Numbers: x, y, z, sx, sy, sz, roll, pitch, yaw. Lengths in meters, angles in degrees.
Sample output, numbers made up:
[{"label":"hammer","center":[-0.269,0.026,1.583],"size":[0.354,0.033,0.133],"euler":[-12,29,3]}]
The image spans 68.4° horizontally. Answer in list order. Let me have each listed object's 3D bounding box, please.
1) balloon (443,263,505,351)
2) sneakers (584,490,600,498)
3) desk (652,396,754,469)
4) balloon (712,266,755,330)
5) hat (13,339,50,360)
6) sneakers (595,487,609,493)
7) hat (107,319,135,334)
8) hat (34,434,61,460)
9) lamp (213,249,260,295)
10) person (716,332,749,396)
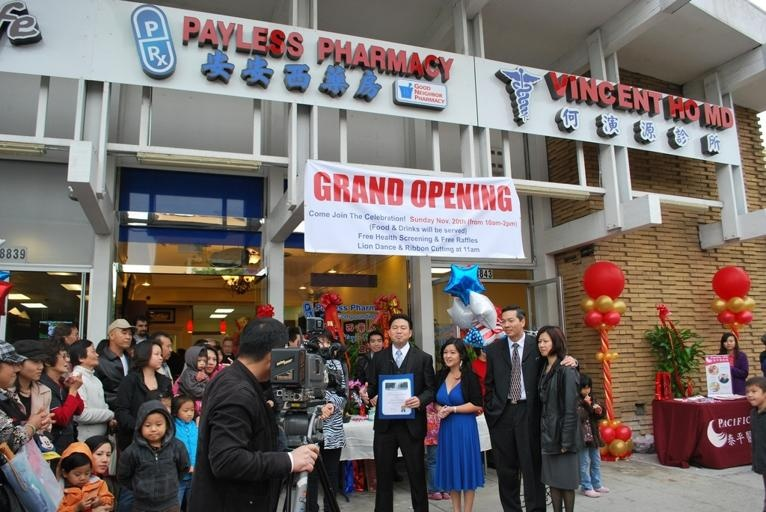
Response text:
[{"label":"balloon","center":[1.062,0.637,7.309],"size":[0.532,1.060,0.709],"euler":[-19,1,27]},{"label":"sneakers","center":[2.770,3.161,7.477],"size":[0.085,0.062,0.154],"euler":[5,-12,-34]},{"label":"desk","center":[5.136,2.848,9.071],"size":[1.707,0.909,0.960],"euler":[5,-13,-29]},{"label":"balloon","center":[6.226,0.759,10.053],"size":[0.526,1.162,0.567],"euler":[4,-10,-30]},{"label":"hat","center":[-3.445,0.918,5.540],"size":[0.287,0.151,0.220],"euler":[11,-4,-1]},{"label":"sneakers","center":[2.965,3.165,7.613],"size":[0.151,0.067,0.060],"euler":[-3,-2,9]},{"label":"hat","center":[-3.236,0.853,6.861],"size":[0.265,0.146,0.203],"euler":[-6,-9,5]},{"label":"hat","center":[-3.192,1.815,5.353],"size":[0.312,0.153,0.198],"euler":[-13,-18,41]},{"label":"lamp","center":[-2.406,0.402,9.404],"size":[0.632,0.473,1.011],"euler":[-2,-15,-10]},{"label":"person","center":[5.838,1.786,9.341],"size":[0.354,0.992,0.484],"euler":[-7,-10,30]}]
